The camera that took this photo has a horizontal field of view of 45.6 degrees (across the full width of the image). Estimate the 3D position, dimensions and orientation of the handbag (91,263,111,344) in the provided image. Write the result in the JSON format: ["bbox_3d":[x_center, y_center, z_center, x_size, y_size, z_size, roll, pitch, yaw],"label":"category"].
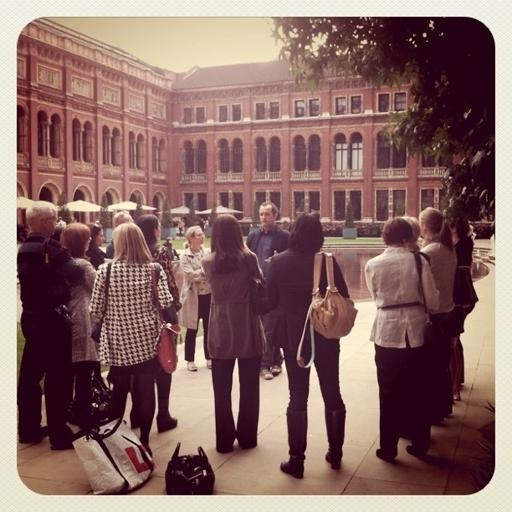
[{"bbox_3d":[-1.278,0.405,5.034,0.075,0.931,0.350,6,19,-8],"label":"handbag"}]

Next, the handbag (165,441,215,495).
[{"bbox_3d":[-0.509,1.685,4.689,0.314,0.410,0.364,0,-2,-1],"label":"handbag"}]

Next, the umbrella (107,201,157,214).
[{"bbox_3d":[-2.651,-1.057,13.085,0.812,0.360,0.874,5,10,25],"label":"umbrella"}]

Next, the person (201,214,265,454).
[{"bbox_3d":[-0.191,0.672,5.347,0.529,2.062,0.288,-1,5,-8],"label":"person"}]

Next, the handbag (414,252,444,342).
[{"bbox_3d":[1.448,0.332,5.092,0.233,0.742,0.348,3,6,30],"label":"handbag"}]

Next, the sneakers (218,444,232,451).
[{"bbox_3d":[-0.270,1.670,5.296,0.134,0.072,0.035,-2,6,-15],"label":"sneakers"}]

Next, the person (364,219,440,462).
[{"bbox_3d":[1.222,0.695,5.136,0.581,2.025,0.425,0,5,3],"label":"person"}]

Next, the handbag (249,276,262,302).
[{"bbox_3d":[-0.003,0.294,5.261,0.052,0.190,0.114,0,3,-24],"label":"handbag"}]

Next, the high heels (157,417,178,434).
[{"bbox_3d":[-0.849,1.593,5.820,0.078,0.187,0.226,2,6,40],"label":"high heels"}]

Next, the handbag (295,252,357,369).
[{"bbox_3d":[0.554,0.441,4.934,0.441,0.930,0.357,-3,-2,-8],"label":"handbag"}]

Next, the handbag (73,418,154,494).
[{"bbox_3d":[-1.117,1.677,4.844,0.582,0.340,0.628,1,48,-52],"label":"handbag"}]
